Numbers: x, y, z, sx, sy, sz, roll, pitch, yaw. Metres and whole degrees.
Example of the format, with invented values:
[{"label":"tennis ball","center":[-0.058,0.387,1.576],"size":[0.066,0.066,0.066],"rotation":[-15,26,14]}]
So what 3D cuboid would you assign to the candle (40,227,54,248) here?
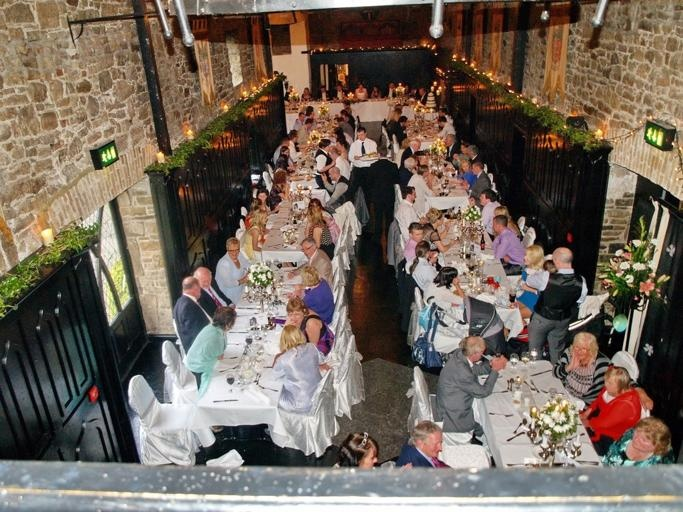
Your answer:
[{"label":"candle","center":[-3.123,-0.195,4.942],"size":[0.105,0.190,0.118],"rotation":[-4,38,-22]}]

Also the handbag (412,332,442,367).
[{"label":"handbag","center":[1.336,1.522,7.356],"size":[0.518,0.579,0.422],"rotation":[-5,38,2]}]

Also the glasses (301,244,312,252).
[{"label":"glasses","center":[-0.560,-0.142,7.772],"size":[0.162,0.128,0.122],"rotation":[2,20,5]}]
